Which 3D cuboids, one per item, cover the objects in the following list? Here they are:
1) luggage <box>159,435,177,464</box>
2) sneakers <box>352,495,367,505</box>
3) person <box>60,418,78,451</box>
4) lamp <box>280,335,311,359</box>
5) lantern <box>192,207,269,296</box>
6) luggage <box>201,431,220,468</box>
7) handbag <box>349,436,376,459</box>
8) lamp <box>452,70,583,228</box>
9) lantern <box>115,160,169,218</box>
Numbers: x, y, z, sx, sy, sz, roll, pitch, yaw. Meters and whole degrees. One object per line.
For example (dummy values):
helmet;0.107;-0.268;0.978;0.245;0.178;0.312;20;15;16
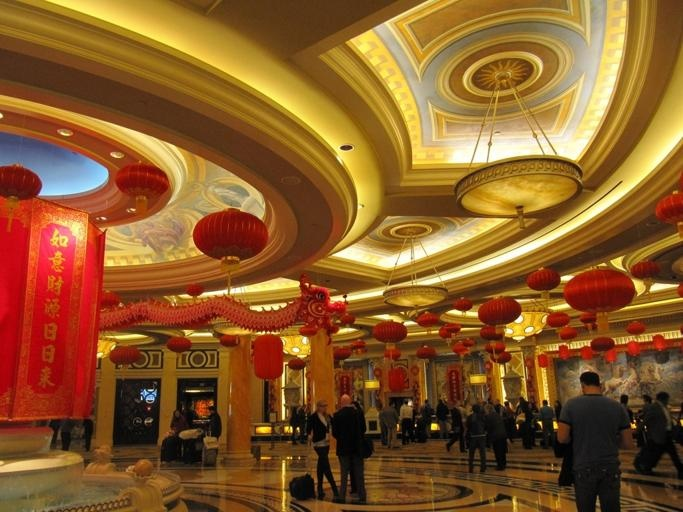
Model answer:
luggage;-4.797;5.275;12.982;0.485;0.695;0.257;-9;-21;22
sneakers;0.267;3.691;7.125;0.219;0.118;0.182;-1;-31;1
person;-8.464;5.437;14.403;0.325;0.955;1.249;9;-20;-27
lamp;-1.470;2.928;15.338;1.542;0.425;1.308;7;-26;-9
lantern;-1.336;-0.062;5.925;1.029;0.934;0.868;-3;-24;3
luggage;-3.430;5.043;12.240;0.401;0.658;0.770;4;-18;-14
handbag;0.393;2.919;7.253;0.245;0.305;0.514;-9;-18;23
lamp;2.264;-1.338;6.460;1.681;1.755;1.615;17;-32;-36
lantern;-2.517;-0.876;5.884;0.470;0.612;0.469;-11;-21;29
